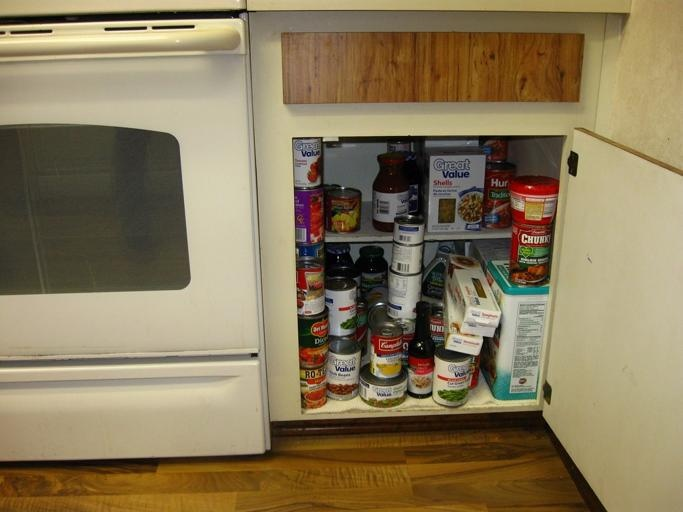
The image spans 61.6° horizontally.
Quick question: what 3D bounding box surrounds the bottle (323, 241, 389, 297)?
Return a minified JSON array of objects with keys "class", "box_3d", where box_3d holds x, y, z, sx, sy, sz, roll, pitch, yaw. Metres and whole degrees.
[{"class":"bottle","box_3d":[0.050,0.019,1.777,0.227,0.205,0.116,-2,29,-6]}]
